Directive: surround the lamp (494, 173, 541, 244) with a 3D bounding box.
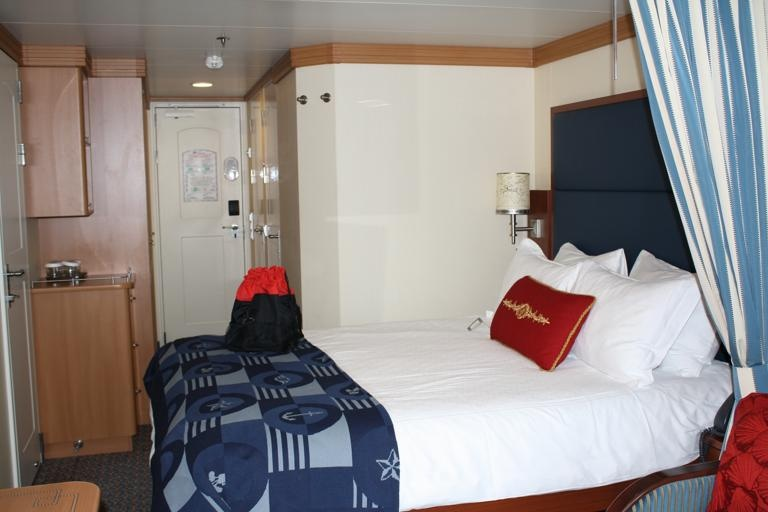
[{"bbox_3d":[1.147,-0.380,4.481,0.335,0.653,0.523,5,14,19],"label":"lamp"}]

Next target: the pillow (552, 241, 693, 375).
[{"bbox_3d":[1.414,0.144,3.053,0.467,0.443,1.022,-4,15,-8],"label":"pillow"}]

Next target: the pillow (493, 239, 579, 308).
[{"bbox_3d":[1.084,0.135,3.689,0.122,0.412,0.410,13,2,-23],"label":"pillow"}]

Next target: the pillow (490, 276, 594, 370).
[{"bbox_3d":[0.959,0.410,3.254,0.189,0.460,0.647,25,0,-17],"label":"pillow"}]

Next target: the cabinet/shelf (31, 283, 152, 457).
[{"bbox_3d":[-2.248,0.860,4.009,0.648,1.273,0.353,-2,14,-10],"label":"cabinet/shelf"}]

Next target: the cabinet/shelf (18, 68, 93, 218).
[{"bbox_3d":[-2.518,-0.852,4.002,0.391,1.011,1.073,0,8,-14],"label":"cabinet/shelf"}]
